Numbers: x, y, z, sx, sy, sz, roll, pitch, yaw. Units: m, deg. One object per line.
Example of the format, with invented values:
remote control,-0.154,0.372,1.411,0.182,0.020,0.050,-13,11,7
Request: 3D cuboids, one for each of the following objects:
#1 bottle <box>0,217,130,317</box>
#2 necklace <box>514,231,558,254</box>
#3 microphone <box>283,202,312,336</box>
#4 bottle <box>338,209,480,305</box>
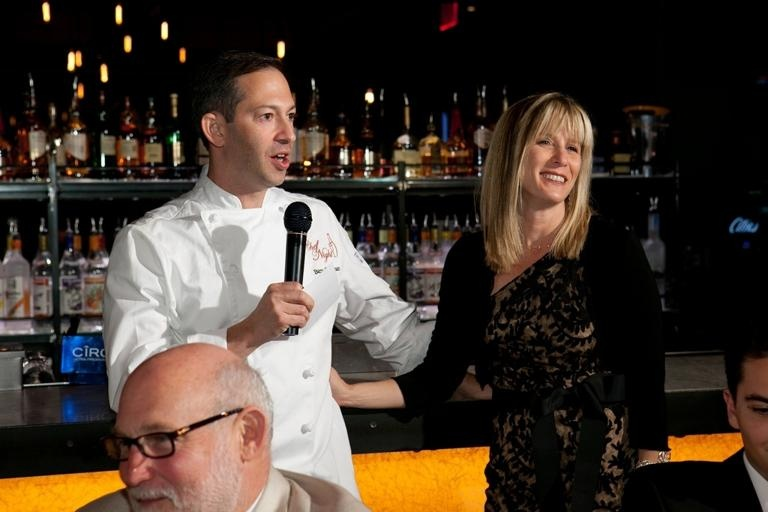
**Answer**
bottle,-1.443,0.067,3.451,0.491,0.464,0.164,1,-5,-10
necklace,0.548,-0.036,2.747,0.094,0.024,0.097,-22,6,4
microphone,-0.274,-0.038,2.471,0.084,0.255,0.154,-1,2,-6
bottle,0.214,0.075,3.875,0.655,0.428,0.363,1,3,4
